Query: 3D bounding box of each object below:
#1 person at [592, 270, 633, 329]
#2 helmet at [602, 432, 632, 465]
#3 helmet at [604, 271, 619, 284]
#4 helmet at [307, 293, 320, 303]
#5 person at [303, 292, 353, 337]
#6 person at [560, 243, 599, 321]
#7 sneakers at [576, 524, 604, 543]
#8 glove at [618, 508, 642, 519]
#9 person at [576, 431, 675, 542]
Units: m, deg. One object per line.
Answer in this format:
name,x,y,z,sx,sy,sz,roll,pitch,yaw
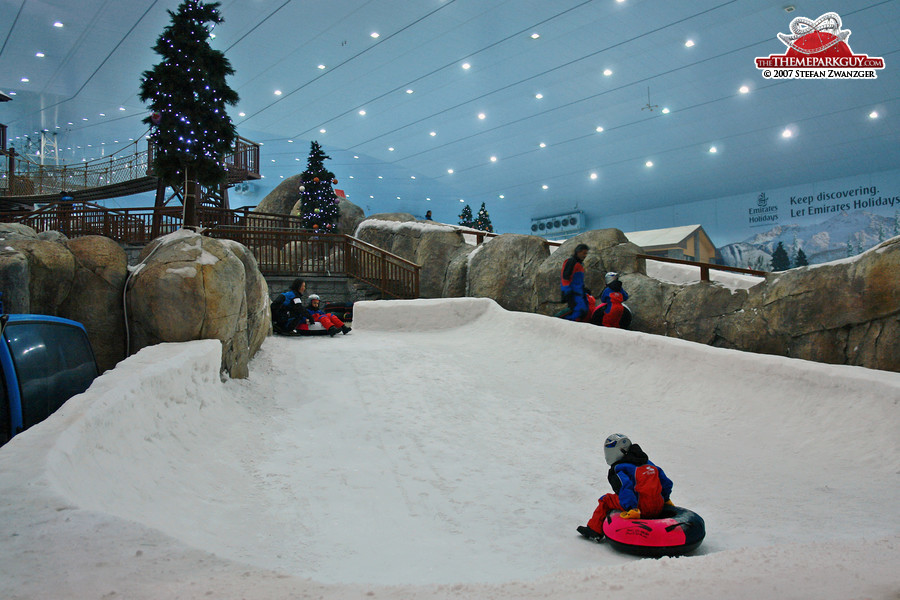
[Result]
person,4.054,0.018,18.156,0.976,1.382,0.767,0,2,2
helmet,2.708,2.432,11.891,0.501,0.521,0.416,4,-14,-21
helmet,3.987,-0.530,18.088,0.238,0.286,0.347,0,2,7
helmet,-3.667,-0.044,19.725,0.272,0.153,0.386,1,-1,-12
person,-3.314,0.428,19.364,1.301,0.914,0.721,12,12,24
person,3.204,-0.438,18.522,0.710,1.914,0.514,0,2,6
sneakers,2.256,3.759,11.731,0.346,0.221,0.137,18,-1,26
glove,2.803,3.326,11.416,0.249,0.090,0.156,-3,8,-15
person,2.824,3.095,11.973,1.144,1.715,1.329,-2,1,-40
